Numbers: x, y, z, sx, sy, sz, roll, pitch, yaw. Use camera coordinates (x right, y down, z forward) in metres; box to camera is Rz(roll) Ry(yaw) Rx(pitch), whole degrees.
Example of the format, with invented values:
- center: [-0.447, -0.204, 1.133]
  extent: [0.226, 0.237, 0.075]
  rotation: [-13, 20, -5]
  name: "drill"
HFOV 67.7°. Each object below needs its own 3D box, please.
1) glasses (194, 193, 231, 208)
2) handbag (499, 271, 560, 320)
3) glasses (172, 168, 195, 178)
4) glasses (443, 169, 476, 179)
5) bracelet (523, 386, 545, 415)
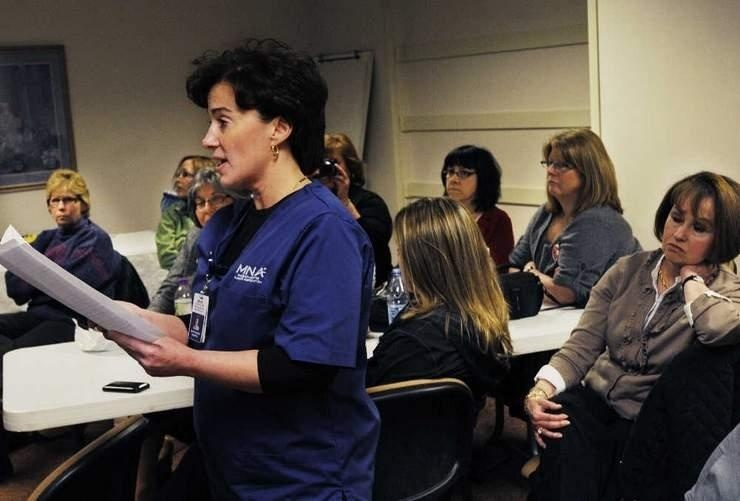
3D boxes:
- center: [-0.851, -0.275, 3.000]
  extent: [0.195, 0.061, 0.202]
  rotation: [-3, -4, 18]
  name: "glasses"
- center: [0.743, 0.187, 2.592]
  extent: [0.264, 0.245, 0.193]
  rotation: [-6, 6, -42]
  name: "handbag"
- center: [-1.484, -0.622, 4.424]
  extent: [0.088, 0.047, 0.116]
  rotation: [-2, 2, 1]
  name: "glasses"
- center: [0.564, -0.494, 3.509]
  extent: [0.205, 0.064, 0.049]
  rotation: [2, 14, 34]
  name: "glasses"
- center: [0.658, 0.597, 2.162]
  extent: [0.072, 0.099, 0.097]
  rotation: [-2, -10, 31]
  name: "bracelet"
